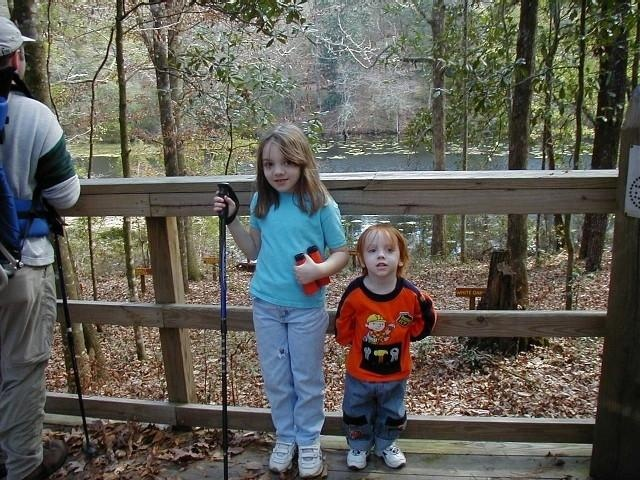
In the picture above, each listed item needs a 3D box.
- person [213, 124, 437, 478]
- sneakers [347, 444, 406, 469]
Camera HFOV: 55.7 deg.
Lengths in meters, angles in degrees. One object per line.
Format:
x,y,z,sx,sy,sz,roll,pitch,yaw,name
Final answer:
-0.201,0.353,3.564,0.691,2.032,0.381,4,10,23,person
0.344,1.291,3.670,0.365,0.133,0.155,-3,-15,1,sneakers
